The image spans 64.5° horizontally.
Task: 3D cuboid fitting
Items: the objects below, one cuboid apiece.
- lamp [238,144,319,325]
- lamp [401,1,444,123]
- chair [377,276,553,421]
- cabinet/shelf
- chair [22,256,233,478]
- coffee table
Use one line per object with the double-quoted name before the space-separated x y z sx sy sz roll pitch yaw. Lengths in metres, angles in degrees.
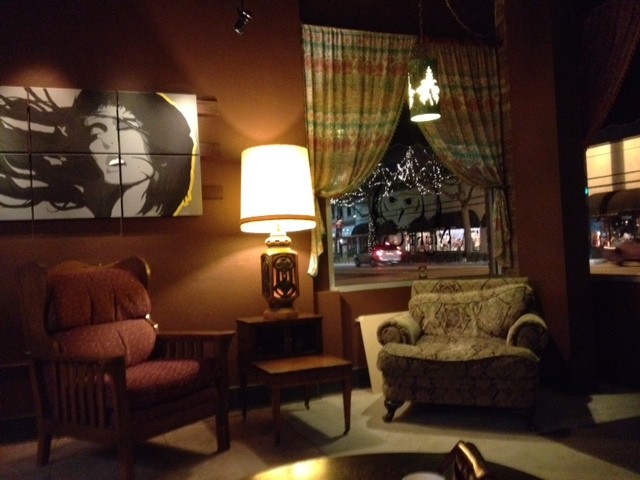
"lamp" -0.347 -0.083 4.277 0.628 1.455 0.424 -2 4 -3
"lamp" 0.998 -1.819 4.891 0.263 1.378 1.034 -1 4 12
"chair" 1.228 0.901 4.337 1.349 1.139 1.022 -5 -5 31
"cabinet/shelf" -0.342 1.001 4.167 0.753 0.948 0.479 2 -7 -28
"chair" -1.311 0.859 4.016 1.416 1.831 1.358 -7 -7 32
"coffee table" -0.164 1.105 3.959 0.698 0.545 0.558 1 -5 -28
